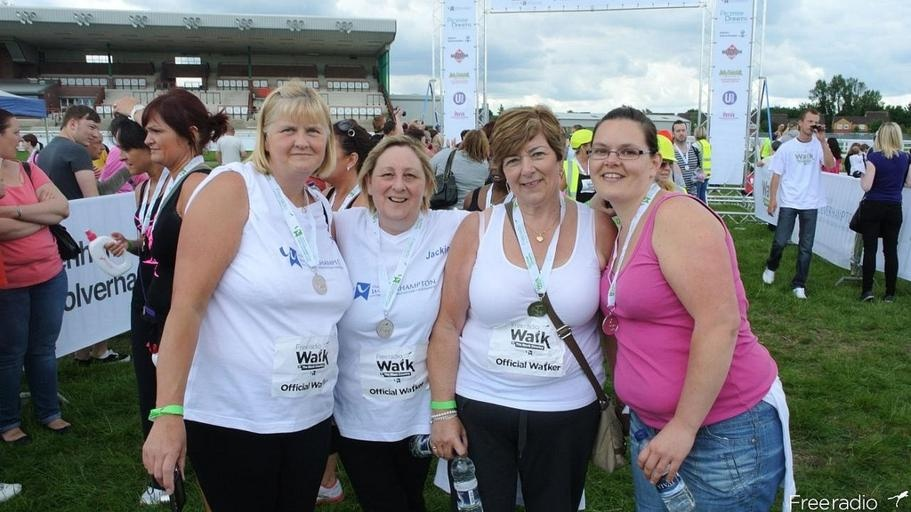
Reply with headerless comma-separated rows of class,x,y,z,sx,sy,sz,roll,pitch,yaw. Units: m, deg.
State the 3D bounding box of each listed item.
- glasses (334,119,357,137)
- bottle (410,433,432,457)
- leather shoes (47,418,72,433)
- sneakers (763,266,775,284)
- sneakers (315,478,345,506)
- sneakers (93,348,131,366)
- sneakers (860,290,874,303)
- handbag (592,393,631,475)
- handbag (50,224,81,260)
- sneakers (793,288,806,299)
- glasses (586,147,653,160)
glasses,-1.138,-1.336,6.722,0.156,0.092,0.210,-9,6,-43
bottle,-0.295,1.606,5.500,0.155,0.206,0.184,1,10,-39
leather shoes,-4.488,1.917,7.322,0.244,0.098,0.134,1,11,37
sneakers,5.415,0.351,11.188,0.189,0.298,0.307,1,-7,11
sneakers,-1.248,2.397,6.602,0.480,0.222,0.187,2,-1,-20
sneakers,-4.603,1.369,8.778,0.525,0.192,0.189,-1,11,7
sneakers,6.535,0.636,10.220,0.101,0.188,0.266,-1,10,-2
handbag,1.289,1.477,5.363,0.262,0.577,0.193,-10,14,-40
handbag,-4.320,-0.190,7.238,0.270,0.375,0.134,10,35,34
sneakers,5.616,0.602,10.531,0.113,0.118,0.292,-6,7,22
glasses,1.301,-0.811,5.115,0.436,0.091,0.063,0,11,6
